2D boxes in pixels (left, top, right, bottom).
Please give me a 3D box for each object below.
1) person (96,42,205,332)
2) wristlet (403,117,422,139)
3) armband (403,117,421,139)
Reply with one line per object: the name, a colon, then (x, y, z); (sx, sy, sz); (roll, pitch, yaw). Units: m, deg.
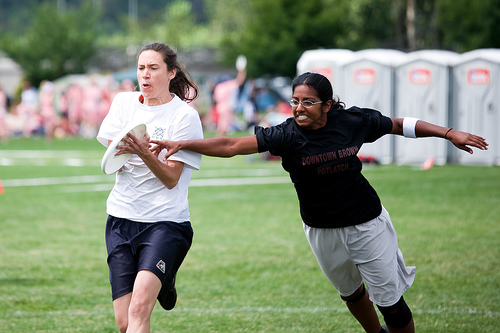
person: (-1.166, 0.215, 8.110); (1.190, 3.350, 0.893); (-4, 7, -14)
wristlet: (2.021, -0.489, 8.547); (0.239, 0.251, 0.185); (2, 4, 29)
armband: (2.001, -0.474, 8.549); (0.218, 0.242, 0.181); (-3, 19, 1)
